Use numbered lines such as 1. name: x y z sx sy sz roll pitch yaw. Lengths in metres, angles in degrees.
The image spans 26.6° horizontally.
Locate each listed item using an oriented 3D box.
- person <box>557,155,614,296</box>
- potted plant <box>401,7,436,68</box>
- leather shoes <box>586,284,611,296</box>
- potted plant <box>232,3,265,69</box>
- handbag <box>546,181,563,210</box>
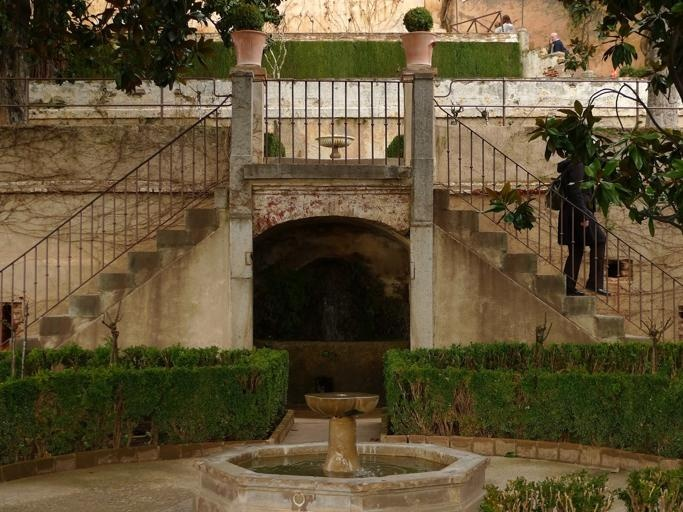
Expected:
1. person: 4.081 -0.505 24.850 0.957 2.352 1.050 -2 0 33
2. potted plant: 1.323 -3.797 25.138 0.549 1.085 0.417 -2 0 3
3. leather shoes: 4.383 0.598 24.852 0.177 0.184 0.478 -1 0 -42
4. potted plant: -1.596 -3.774 24.809 0.586 1.134 0.354 -2 0 -4
5. handbag: 3.626 -1.024 24.604 0.281 0.578 0.518 2 -1 11
